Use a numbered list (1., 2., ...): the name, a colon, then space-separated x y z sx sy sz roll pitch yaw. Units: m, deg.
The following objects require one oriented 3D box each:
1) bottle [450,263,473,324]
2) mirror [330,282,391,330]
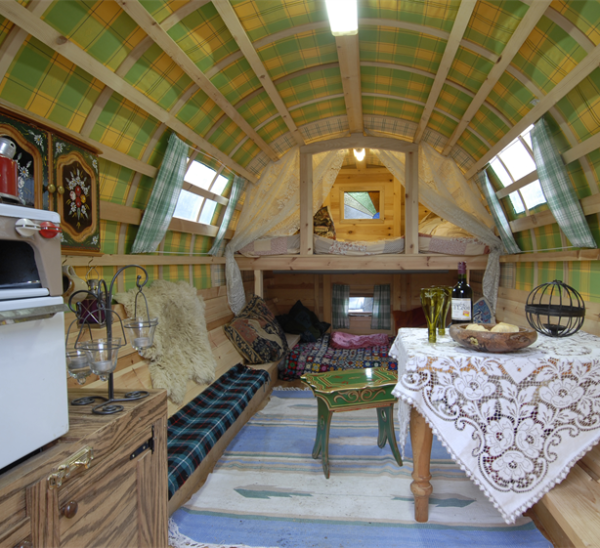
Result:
1. bottle: 0.950 0.115 2.278 0.118 0.371 0.274 -1 1 21
2. mirror: 1.008 0.504 6.224 0.971 0.622 0.062 1 7 8
